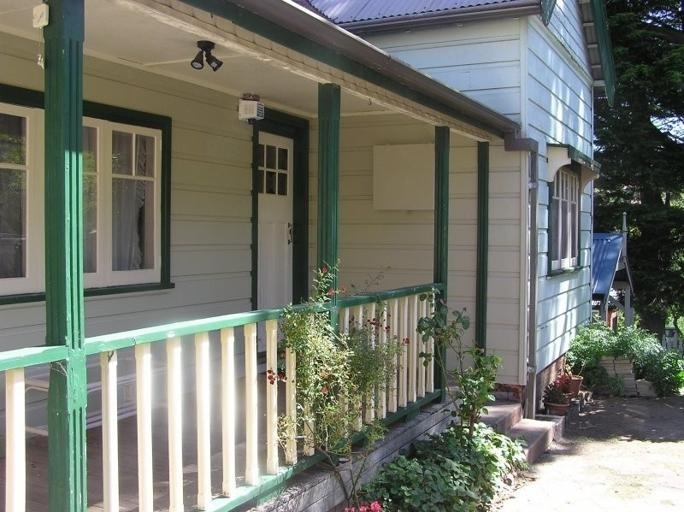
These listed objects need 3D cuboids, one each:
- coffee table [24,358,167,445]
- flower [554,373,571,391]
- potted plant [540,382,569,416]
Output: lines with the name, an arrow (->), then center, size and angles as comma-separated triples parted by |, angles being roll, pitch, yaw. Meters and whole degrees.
coffee table -> -1.634, 0.963, 4.028 | 0.318, 0.324, 0.908 | 18, 14, 30
flower -> 3.192, 1.835, 8.984 | 0.205, 0.211, 0.210 | 0, -9, -27
potted plant -> 2.918, 1.969, 8.461 | 0.307, 0.405, 0.340 | -1, 0, -4
